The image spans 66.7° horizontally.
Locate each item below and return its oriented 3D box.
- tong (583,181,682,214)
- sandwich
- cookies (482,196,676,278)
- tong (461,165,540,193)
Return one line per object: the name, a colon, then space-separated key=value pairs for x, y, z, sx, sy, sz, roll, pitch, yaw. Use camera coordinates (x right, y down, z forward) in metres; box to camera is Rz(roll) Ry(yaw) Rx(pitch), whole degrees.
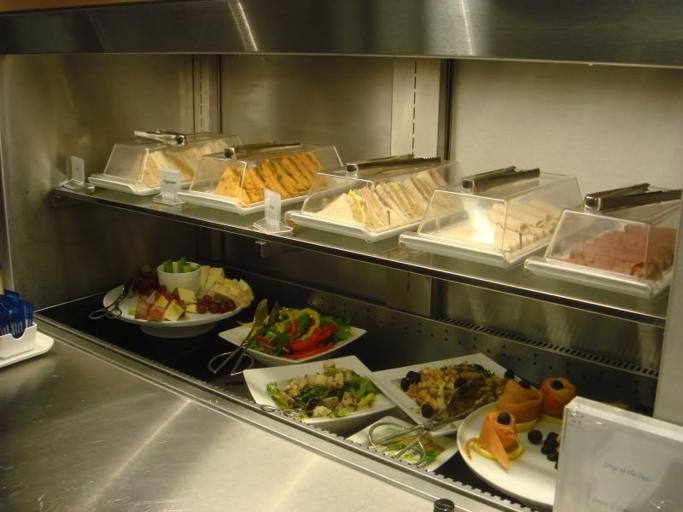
tong: x=0.539 y=-0.137 z=1.024 sx=0.180 sy=0.071 sz=0.117 roll=-8 pitch=18 yaw=-32
sandwich: x=-0.077 y=-0.175 z=1.350 sx=0.491 sy=0.109 sz=0.360 roll=18 pitch=28 yaw=39
cookies: x=0.498 y=-0.059 z=0.950 sx=0.140 sy=0.063 sz=0.199 roll=9 pitch=22 yaw=34
tong: x=0.370 y=-0.196 z=1.176 sx=0.077 sy=0.040 sz=0.251 roll=5 pitch=16 yaw=43
